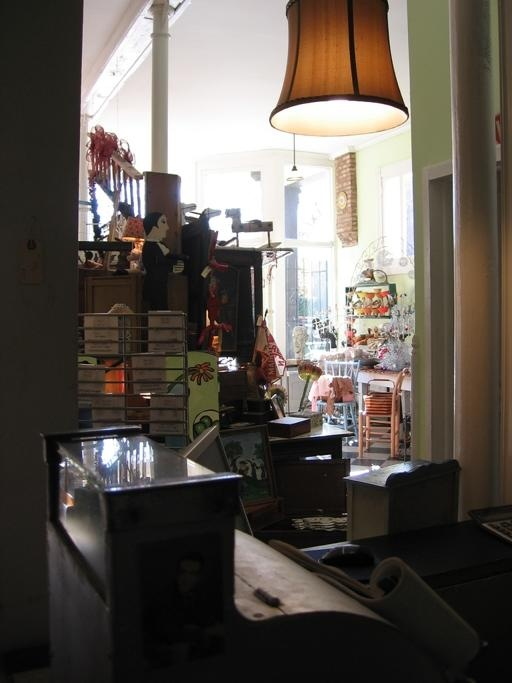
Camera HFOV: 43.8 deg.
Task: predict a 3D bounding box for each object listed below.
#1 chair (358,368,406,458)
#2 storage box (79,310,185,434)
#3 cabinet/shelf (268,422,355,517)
[{"bbox_3d":[1.310,0.732,6.644,0.493,0.961,1.134,-2,4,10],"label":"chair"},{"bbox_3d":[-0.463,0.111,2.289,0.364,0.471,0.608,-4,4,-24],"label":"storage box"},{"bbox_3d":[0.279,0.637,3.197,0.433,0.452,0.446,-2,1,-13],"label":"cabinet/shelf"}]
